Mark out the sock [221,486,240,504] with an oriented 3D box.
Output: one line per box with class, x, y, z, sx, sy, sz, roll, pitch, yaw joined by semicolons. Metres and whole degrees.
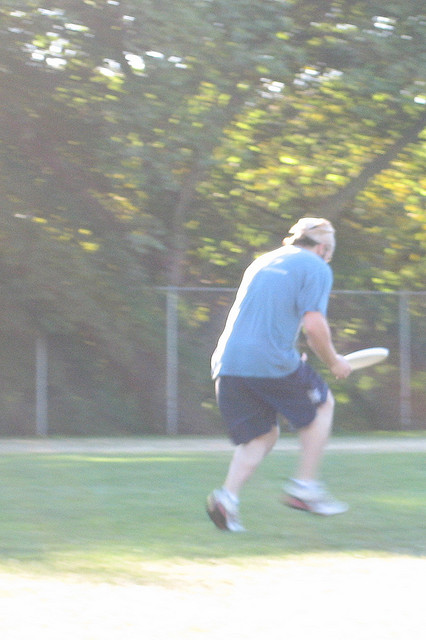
sock;0.061;0.714;3.868;0.094;0.065;0.057;-3;-8;43
